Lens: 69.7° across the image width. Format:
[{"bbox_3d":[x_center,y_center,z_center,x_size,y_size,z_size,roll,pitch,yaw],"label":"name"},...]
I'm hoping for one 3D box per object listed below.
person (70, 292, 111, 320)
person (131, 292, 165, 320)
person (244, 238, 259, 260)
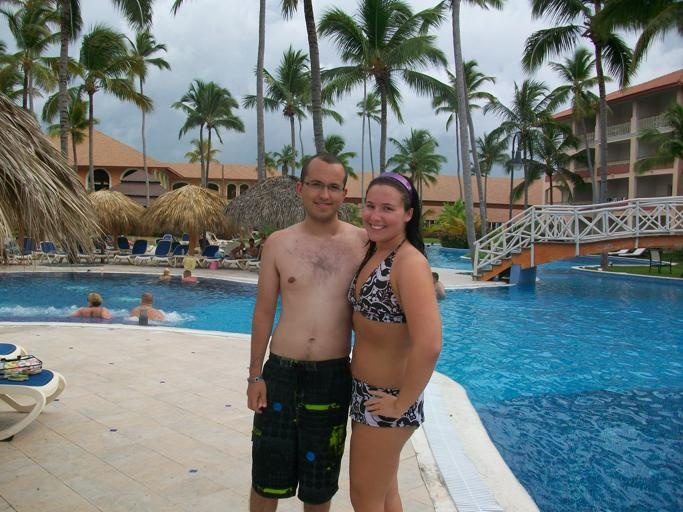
[{"bbox_3d":[-5.083,0.987,10.067,0.624,0.518,0.785,-1,3,-33],"label":"person"},{"bbox_3d":[-4.004,1.044,10.241,0.658,0.590,1.310,-1,3,-23],"label":"person"},{"bbox_3d":[-3.635,-0.341,20.723,0.694,0.946,0.953,0,-1,-12],"label":"person"}]
